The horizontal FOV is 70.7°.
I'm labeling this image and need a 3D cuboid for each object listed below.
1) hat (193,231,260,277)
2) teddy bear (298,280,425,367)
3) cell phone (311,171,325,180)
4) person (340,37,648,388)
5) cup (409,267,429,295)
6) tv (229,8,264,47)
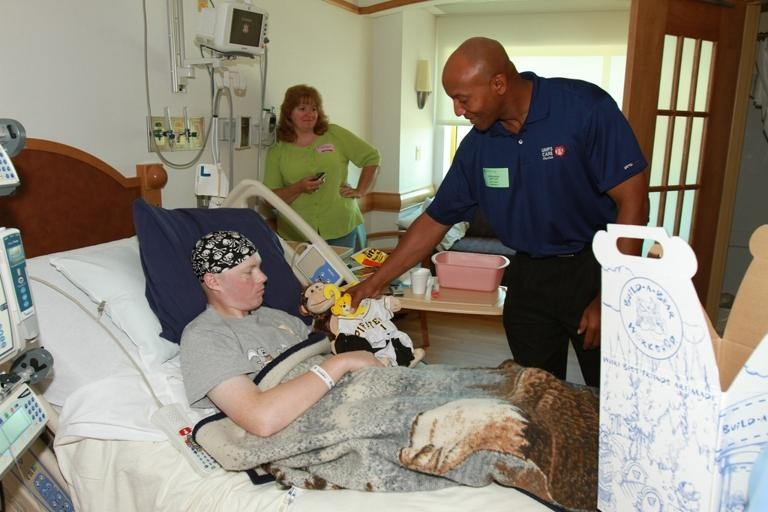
[{"bbox_3d":[-0.627,-0.024,2.180,0.215,0.168,0.165,-34,11,14],"label":"hat"},{"bbox_3d":[-0.099,0.298,2.352,0.438,0.158,0.360,34,38,13],"label":"teddy bear"},{"bbox_3d":[-0.422,-0.512,3.506,0.048,0.034,0.110,-45,7,-36],"label":"cell phone"},{"bbox_3d":[0.576,-0.146,2.352,1.011,1.491,0.351,5,18,17],"label":"person"},{"bbox_3d":[0.190,0.133,2.908,0.122,0.129,0.122,3,10,0],"label":"cup"},{"bbox_3d":[-0.751,-1.240,2.946,0.045,0.185,0.194,22,20,36],"label":"tv"}]
